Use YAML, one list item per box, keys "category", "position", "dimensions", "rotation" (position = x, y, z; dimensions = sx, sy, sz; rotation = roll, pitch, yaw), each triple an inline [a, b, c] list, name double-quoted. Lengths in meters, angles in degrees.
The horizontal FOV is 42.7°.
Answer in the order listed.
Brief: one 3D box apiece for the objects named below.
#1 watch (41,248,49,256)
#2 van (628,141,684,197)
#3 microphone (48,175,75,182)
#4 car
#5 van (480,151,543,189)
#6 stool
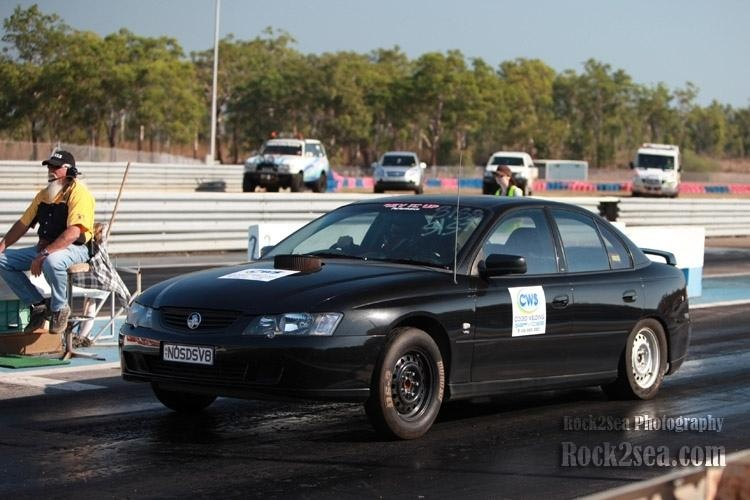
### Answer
- category: "watch"
  position: [-3.674, 0.016, 10.745]
  dimensions: [0.077, 0.084, 0.100]
  rotation: [14, -15, -33]
- category: "van"
  position: [14.512, -4.121, 49.487]
  dimensions: [2.159, 2.607, 2.252]
  rotation: [4, 6, 20]
- category: "microphone"
  position: [-3.547, -0.824, 10.982]
  dimensions: [0.152, 0.041, 0.115]
  rotation: [-6, -1, 6]
- category: "car"
  position: [0.682, 0.585, 8.912]
  dimensions: [4.386, 1.424, 2.376]
  rotation: [6, -7, -43]
- category: "van"
  position: [6.343, -3.886, 46.056]
  dimensions: [2.513, 2.220, 5.447]
  rotation: [0, -4, 15]
- category: "stool"
  position: [-3.542, 0.698, 11.129]
  dimensions: [0.901, 1.128, 0.916]
  rotation: [0, -6, -30]
